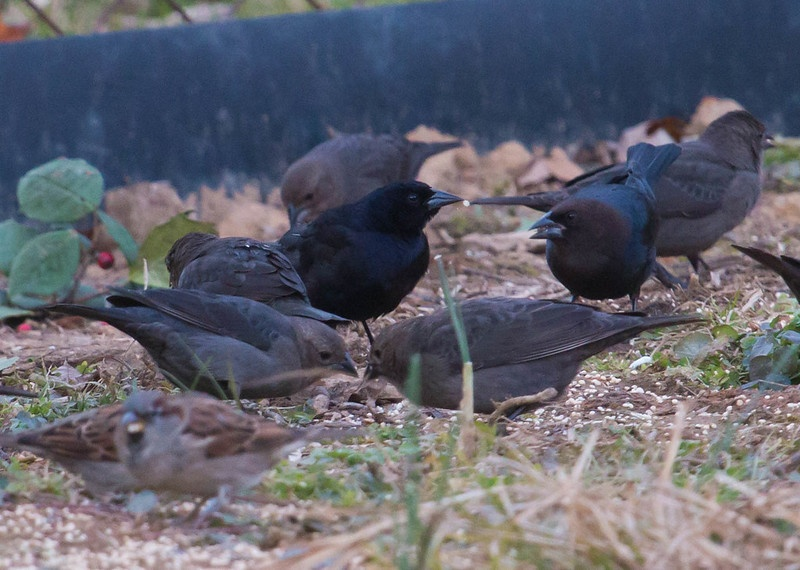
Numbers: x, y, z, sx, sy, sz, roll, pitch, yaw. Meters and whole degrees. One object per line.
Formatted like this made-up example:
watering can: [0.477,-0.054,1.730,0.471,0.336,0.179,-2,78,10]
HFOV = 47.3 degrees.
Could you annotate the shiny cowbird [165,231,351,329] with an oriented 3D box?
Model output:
shiny cowbird: [-1.004,-0.009,6.035,1.273,0.719,0.590,-6,3,30]
